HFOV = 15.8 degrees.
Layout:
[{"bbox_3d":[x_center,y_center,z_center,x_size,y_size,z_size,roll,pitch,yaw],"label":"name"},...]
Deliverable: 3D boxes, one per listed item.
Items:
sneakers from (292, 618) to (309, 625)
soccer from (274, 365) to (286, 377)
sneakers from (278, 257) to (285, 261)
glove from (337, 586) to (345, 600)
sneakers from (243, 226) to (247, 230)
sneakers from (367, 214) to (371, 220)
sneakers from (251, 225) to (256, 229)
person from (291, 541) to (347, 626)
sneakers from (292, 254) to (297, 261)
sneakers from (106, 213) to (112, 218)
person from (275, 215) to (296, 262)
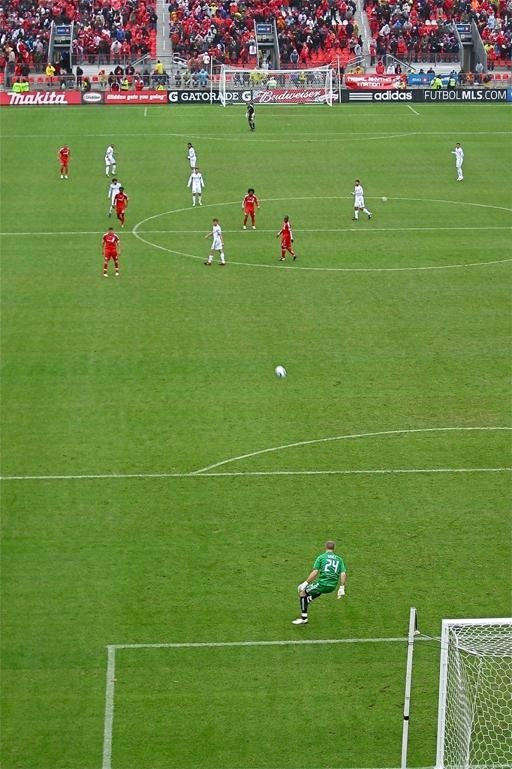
[{"bbox_3d":[0.738,4.094,31.776,0.269,0.159,0.116,1,4,5],"label":"sneakers"},{"bbox_3d":[0.532,-0.295,42.517,0.250,0.206,0.392,-1,16,-2],"label":"soccer"},{"bbox_3d":[0.725,-3.699,53.908,0.148,0.132,0.061,15,23,27],"label":"sneakers"},{"bbox_3d":[1.457,3.651,32.022,0.124,0.154,0.436,-17,-22,0],"label":"glove"},{"bbox_3d":[-0.402,-5.054,58.852,0.093,0.130,0.190,0,-15,-1],"label":"sneakers"},{"bbox_3d":[3.659,-5.513,60.108,0.155,0.261,0.071,0,-3,1],"label":"sneakers"},{"bbox_3d":[-0.121,-5.073,59.047,0.098,0.153,0.294,-1,4,-8],"label":"sneakers"},{"bbox_3d":[1.073,3.427,31.956,0.836,1.340,0.856,0,13,1],"label":"person"},{"bbox_3d":[1.079,-3.731,53.887,0.138,0.232,0.067,5,28,9],"label":"sneakers"},{"bbox_3d":[-4.858,-5.546,60.207,0.087,0.138,0.385,8,7,-2],"label":"sneakers"},{"bbox_3d":[0.848,-4.314,54.863,0.571,0.533,1.629,18,42,-9],"label":"person"}]
